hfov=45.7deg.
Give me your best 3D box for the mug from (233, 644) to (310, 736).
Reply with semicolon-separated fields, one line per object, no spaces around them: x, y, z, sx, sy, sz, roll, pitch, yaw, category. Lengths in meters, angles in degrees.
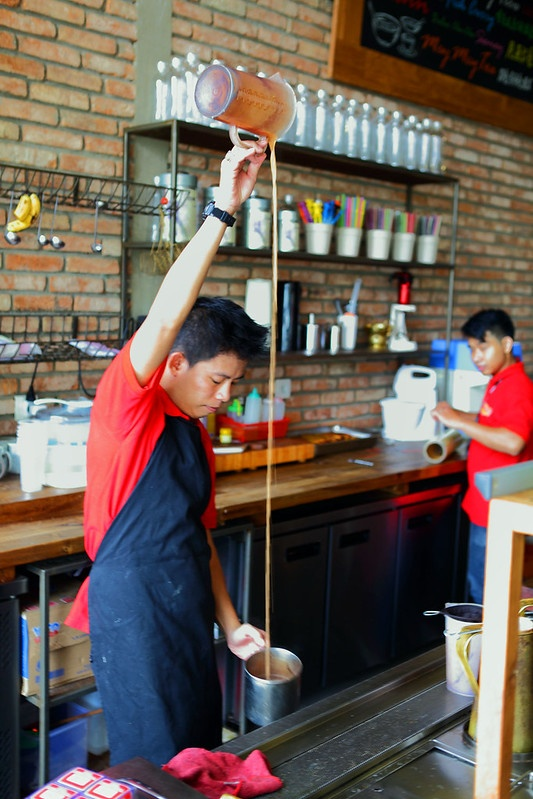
0.010;0.441;0.969;0.077;0.086;0.080;4;16;1;mug
